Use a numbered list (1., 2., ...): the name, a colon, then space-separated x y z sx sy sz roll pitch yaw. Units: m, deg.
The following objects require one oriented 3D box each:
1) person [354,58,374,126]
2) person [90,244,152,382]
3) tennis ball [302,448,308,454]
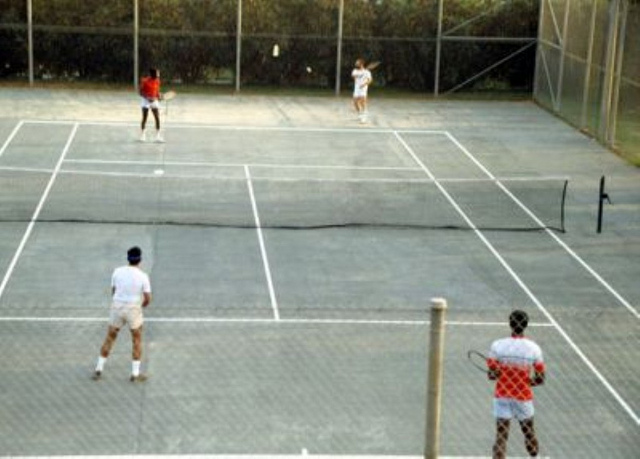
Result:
1. person: 1.426 -4.608 38.831 0.516 2.100 1.547 -1 16 3
2. person: -4.071 1.678 24.328 0.998 2.919 0.937 6 14 -5
3. tennis ball: -0.291 4.343 22.823 0.088 0.054 0.129 -2 18 -2
